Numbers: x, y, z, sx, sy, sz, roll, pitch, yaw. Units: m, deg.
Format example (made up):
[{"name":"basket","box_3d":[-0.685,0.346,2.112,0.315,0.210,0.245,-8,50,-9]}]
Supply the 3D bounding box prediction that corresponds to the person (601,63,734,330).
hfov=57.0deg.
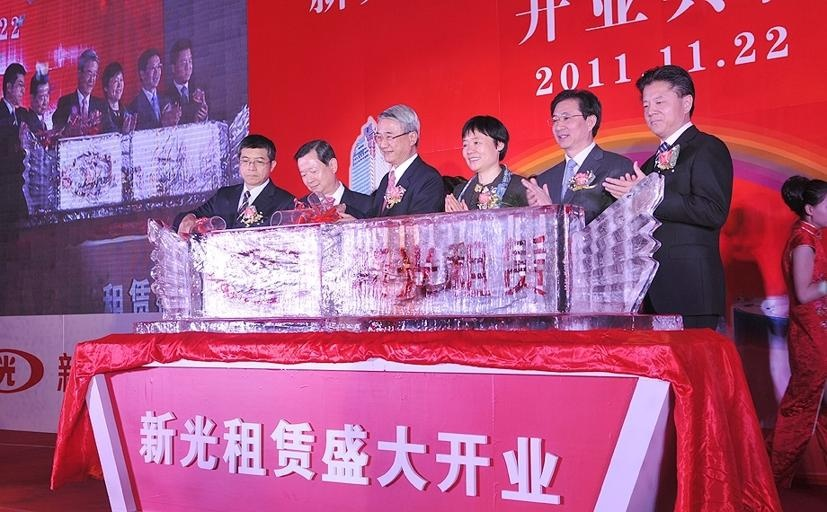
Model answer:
[{"name":"person","box_3d":[1.445,-0.324,4.136,0.510,1.379,0.319,3,4,19]}]

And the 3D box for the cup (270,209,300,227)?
[{"name":"cup","box_3d":[-0.610,-0.178,3.581,0.068,0.075,0.223,-2,6,-40]}]

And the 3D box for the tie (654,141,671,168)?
[{"name":"tie","box_3d":[1.359,-0.539,4.167,0.045,0.130,0.092,10,-12,-7]}]

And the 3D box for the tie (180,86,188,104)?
[{"name":"tie","box_3d":[-1.810,-1.266,6.019,0.062,0.127,0.010,3,4,24]}]

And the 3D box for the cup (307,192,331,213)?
[{"name":"cup","box_3d":[-0.441,-0.242,3.551,0.095,0.076,0.086,0,-1,9]}]

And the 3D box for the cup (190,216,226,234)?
[{"name":"cup","box_3d":[-0.976,-0.139,3.630,0.151,0.069,0.274,1,5,-15]}]

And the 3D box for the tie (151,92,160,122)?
[{"name":"tie","box_3d":[-2.067,-1.173,6.114,0.105,0.239,0.024,4,5,34]}]

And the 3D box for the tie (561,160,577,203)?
[{"name":"tie","box_3d":[0.869,-0.428,4.317,0.054,0.056,0.336,-7,40,30]}]
